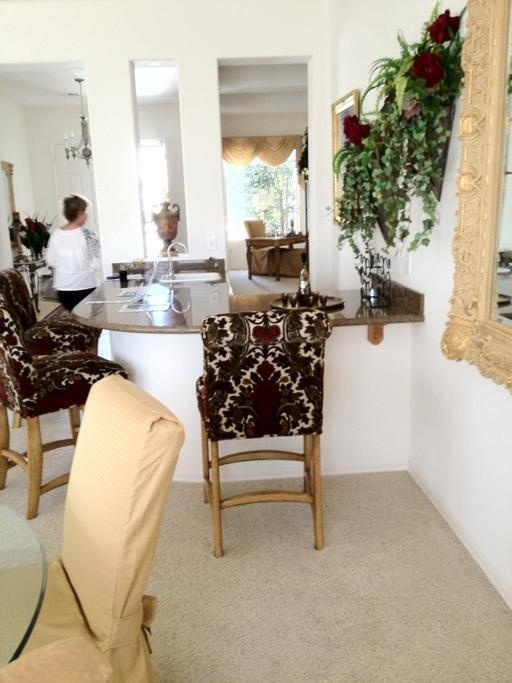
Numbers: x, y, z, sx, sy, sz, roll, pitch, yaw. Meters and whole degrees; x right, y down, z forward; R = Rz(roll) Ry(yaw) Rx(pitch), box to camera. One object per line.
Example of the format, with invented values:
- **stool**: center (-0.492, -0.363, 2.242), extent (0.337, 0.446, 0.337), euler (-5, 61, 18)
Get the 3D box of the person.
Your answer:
- **person**: center (-1.587, -0.581, 4.513), extent (0.449, 1.340, 0.404), euler (0, 34, -14)
